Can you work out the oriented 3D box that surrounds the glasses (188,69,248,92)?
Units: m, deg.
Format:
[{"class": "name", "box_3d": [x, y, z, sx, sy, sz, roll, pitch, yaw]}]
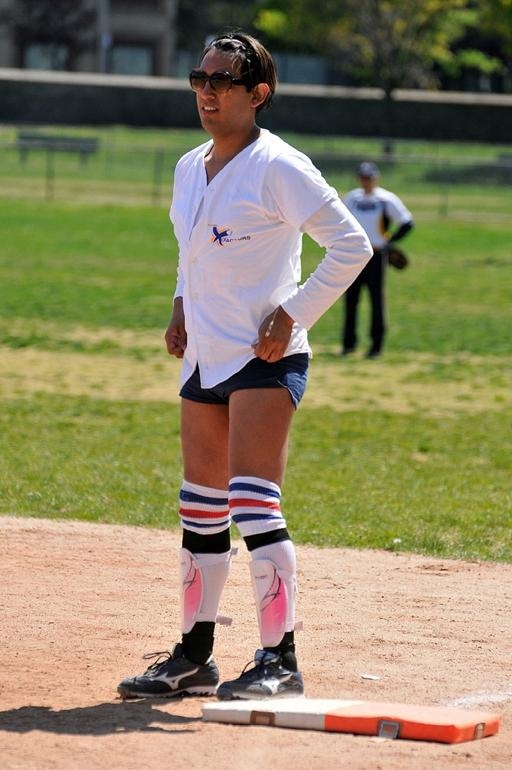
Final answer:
[{"class": "glasses", "box_3d": [-0.103, -0.859, 3.306, 0.101, 0.029, 0.096, 3, 9, -42]}]

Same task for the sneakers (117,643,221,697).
[{"class": "sneakers", "box_3d": [-0.248, 0.872, 3.564, 0.386, 0.173, 0.119, 1, -7, -11]}]

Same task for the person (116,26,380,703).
[{"class": "person", "box_3d": [-0.012, -0.041, 3.411, 0.652, 1.968, 0.418, 4, 7, 10]}]

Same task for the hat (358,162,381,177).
[{"class": "hat", "box_3d": [0.945, -1.836, 9.822, 0.143, 0.162, 0.122, -7, -20, 5]}]

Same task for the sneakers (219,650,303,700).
[{"class": "sneakers", "box_3d": [0.019, 0.836, 3.363, 0.122, 0.137, 0.323, -5, -12, 40]}]
